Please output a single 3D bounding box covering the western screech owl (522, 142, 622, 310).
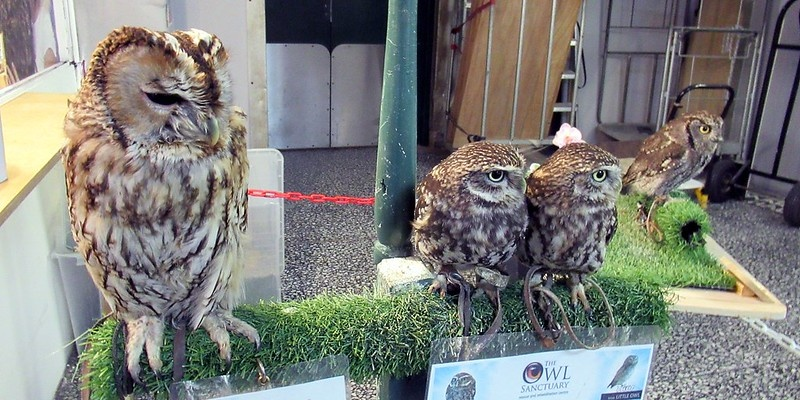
[{"bbox_3d":[0.804,0.045,2.813,0.413,0.600,0.231,5,20,14],"label":"western screech owl"}]
